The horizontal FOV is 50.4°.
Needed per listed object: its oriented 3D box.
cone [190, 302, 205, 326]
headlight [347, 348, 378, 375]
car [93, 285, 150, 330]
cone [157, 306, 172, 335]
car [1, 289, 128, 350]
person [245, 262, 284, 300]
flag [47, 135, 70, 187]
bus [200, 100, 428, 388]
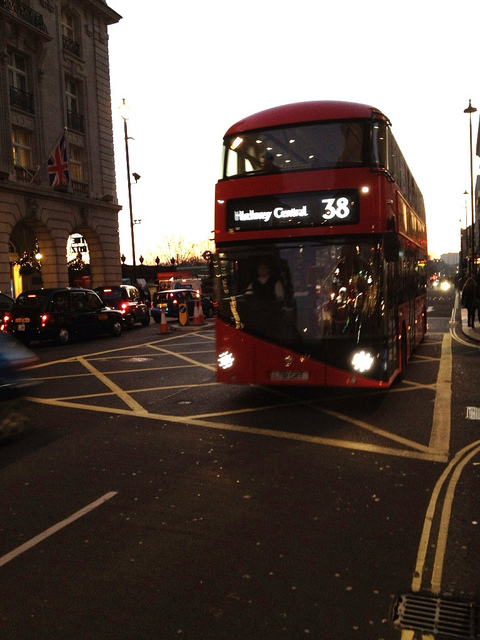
[{"bbox_3d":[-2.026,-0.108,24.079,0.685,1.075,0.737,0,-1,-3],"label":"cone"},{"bbox_3d":[1.684,0.582,7.025,0.392,0.354,0.082,-1,-1,-5],"label":"headlight"},{"bbox_3d":[-5.719,-0.631,25.683,1.558,1.616,2.885,2,10,17],"label":"car"},{"bbox_3d":[-3.190,0.225,20.879,0.723,0.958,0.777,-1,-3,-6],"label":"cone"},{"bbox_3d":[-6.304,-0.061,19.119,1.880,1.985,4.874,-1,-1,30],"label":"car"},{"bbox_3d":[0.378,-0.482,7.627,0.593,0.864,0.444,1,5,14],"label":"person"},{"bbox_3d":[-9.956,-8.477,27.886,1.082,2.481,0.861,-1,-1,-4],"label":"flag"},{"bbox_3d":[2.348,-1.277,10.928,2.506,4.493,8.521,-1,1,24],"label":"bus"}]
